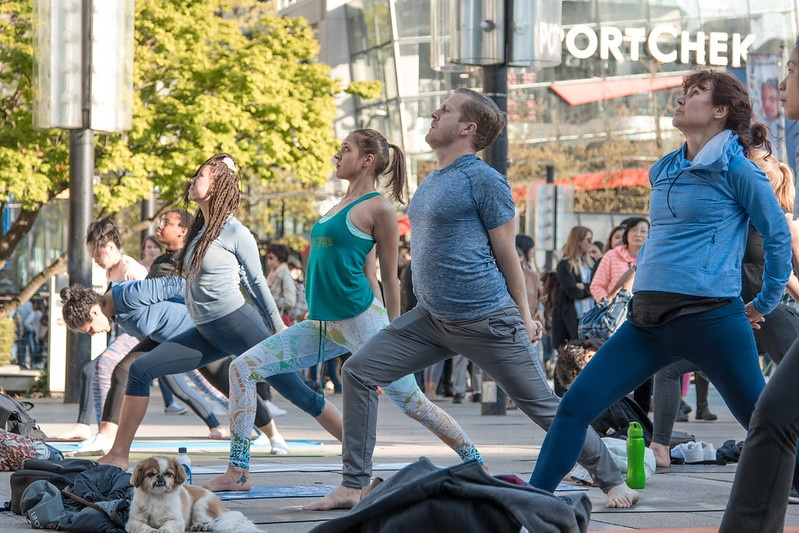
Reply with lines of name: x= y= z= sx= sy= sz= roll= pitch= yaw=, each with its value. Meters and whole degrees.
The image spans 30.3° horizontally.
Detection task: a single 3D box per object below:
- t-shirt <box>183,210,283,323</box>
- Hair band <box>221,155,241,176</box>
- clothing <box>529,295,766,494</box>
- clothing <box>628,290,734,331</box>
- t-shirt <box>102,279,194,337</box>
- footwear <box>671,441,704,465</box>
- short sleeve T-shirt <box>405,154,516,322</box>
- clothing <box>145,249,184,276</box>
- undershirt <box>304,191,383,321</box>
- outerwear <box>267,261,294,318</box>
t-shirt: x=-1.820 y=0.096 z=15.282 sx=0.886 sy=1.319 sz=0.968 roll=-10 pitch=13 yaw=-38
Hair band: x=-1.736 y=-1.030 z=15.045 sx=0.047 sy=0.176 sz=0.151 roll=-42 pitch=-27 yaw=28
clothing: x=2.408 y=1.280 z=14.070 sx=1.849 sy=0.546 sz=1.547 roll=15 pitch=38 yaw=10
clothing: x=2.408 y=0.398 z=12.979 sx=0.510 sy=0.192 sz=0.449 roll=6 pitch=-6 yaw=4
t-shirt: x=-2.696 y=0.390 z=15.979 sx=0.758 sy=0.721 sz=0.359 roll=2 pitch=41 yaw=-6
footwear: x=3.098 y=2.018 z=15.772 sx=0.303 sy=0.140 sz=0.190 roll=-1 pitch=0 yaw=14
short sleeve T-shirt: x=0.568 y=-0.238 z=13.734 sx=0.942 sy=1.521 sz=1.294 roll=0 pitch=-1 yaw=-28
clothing: x=-2.805 y=-0.038 z=17.495 sx=0.191 sy=0.326 sz=0.343 roll=22 pitch=-5 yaw=-25
undershirt: x=-0.547 y=-0.096 z=14.359 sx=0.714 sy=1.189 sz=0.834 roll=5 pitch=-4 yaw=-23
outerwear: x=-1.775 y=0.367 z=21.918 sx=0.511 sy=0.869 sz=0.722 roll=1 pitch=-16 yaw=-14
